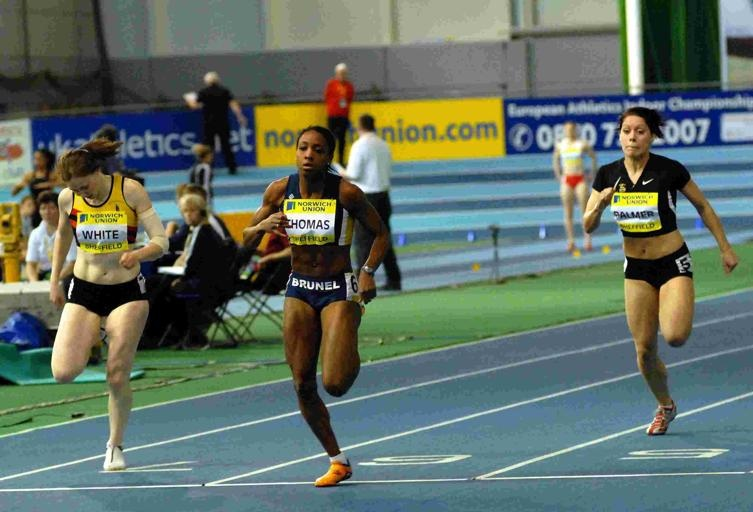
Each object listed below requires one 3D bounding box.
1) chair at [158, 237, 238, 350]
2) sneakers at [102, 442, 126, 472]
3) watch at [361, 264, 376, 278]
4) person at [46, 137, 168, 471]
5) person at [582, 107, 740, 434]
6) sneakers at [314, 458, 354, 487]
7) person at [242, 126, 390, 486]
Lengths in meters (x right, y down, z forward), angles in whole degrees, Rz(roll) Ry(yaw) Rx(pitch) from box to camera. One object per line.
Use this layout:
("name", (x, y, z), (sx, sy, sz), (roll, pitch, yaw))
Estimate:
("chair", (-2.401, 0.603, 11.617), (1.015, 0.960, 1.231), (20, -29, 1))
("sneakers", (-2.037, 1.613, 7.505), (0.247, 0.241, 0.155), (3, -7, -5))
("watch", (-0.051, 0.108, 6.869), (0.092, 0.036, 0.090), (6, 6, -19))
("person", (-2.120, 0.499, 7.567), (0.940, 2.341, 0.703), (-4, 7, -13))
("person", (2.314, 0.128, 7.788), (0.980, 2.717, 0.827), (-6, 8, -26))
("sneakers", (-0.358, 1.606, 6.961), (0.376, 0.166, 0.128), (-10, 13, -23))
("person", (-0.434, 0.385, 6.976), (0.925, 2.679, 0.654), (0, 8, 22))
